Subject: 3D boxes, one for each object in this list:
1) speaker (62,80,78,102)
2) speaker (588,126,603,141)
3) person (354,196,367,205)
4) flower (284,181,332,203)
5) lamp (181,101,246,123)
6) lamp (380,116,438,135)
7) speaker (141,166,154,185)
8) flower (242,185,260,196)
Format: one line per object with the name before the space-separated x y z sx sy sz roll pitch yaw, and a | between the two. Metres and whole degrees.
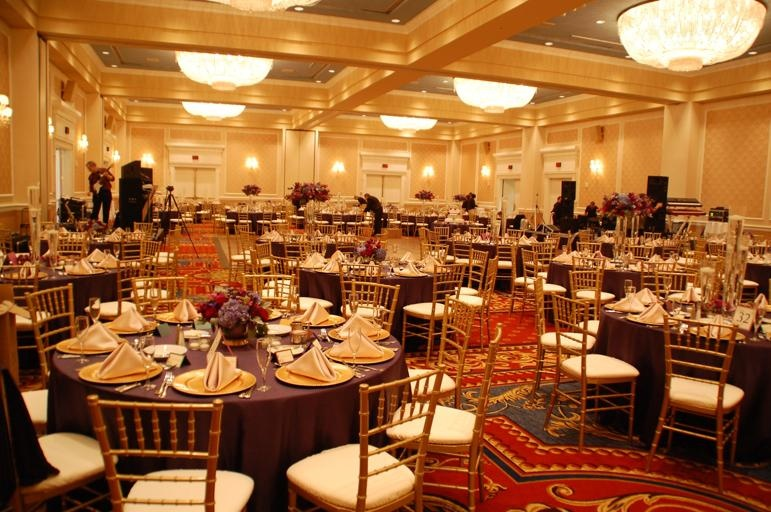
speaker | -7.684 -3.992 13.355 0.299 0.641 0.788 -3 6 -28
speaker | 6.689 -3.903 17.549 0.131 0.423 0.434 4 4 -24
person | -0.785 -1.801 17.833 0.261 0.236 0.721 -4 7 7
flower | -1.483 -1.295 11.560 0.784 0.515 0.797 3 4 32
lamp | -5.682 -4.696 17.900 1.583 0.427 1.579 1 5 2
lamp | 0.986 -4.485 18.790 1.275 0.414 1.286 4 5 37
speaker | -5.806 -1.957 13.421 0.173 0.400 1.085 -2 5 -18
flower | -5.176 -2.488 20.954 0.672 0.397 0.674 -1 2 6
